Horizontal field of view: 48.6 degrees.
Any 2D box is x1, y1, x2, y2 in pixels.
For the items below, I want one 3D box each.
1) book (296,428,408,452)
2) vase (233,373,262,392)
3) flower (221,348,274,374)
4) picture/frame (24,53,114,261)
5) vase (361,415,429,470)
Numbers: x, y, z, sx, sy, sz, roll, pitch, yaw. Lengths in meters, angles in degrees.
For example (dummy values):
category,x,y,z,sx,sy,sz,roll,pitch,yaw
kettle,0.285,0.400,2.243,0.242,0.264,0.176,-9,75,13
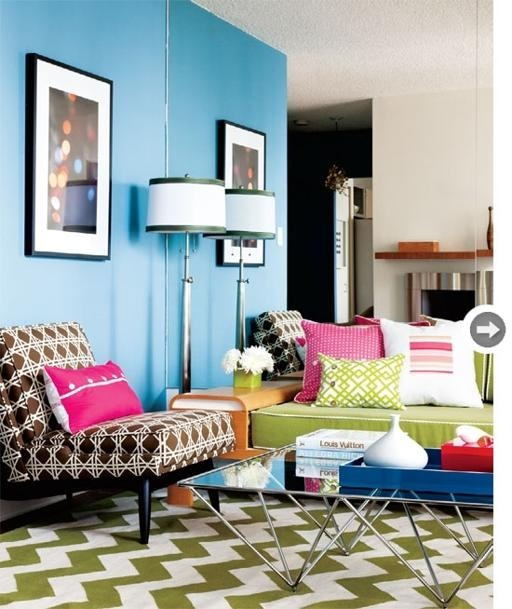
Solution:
category,x,y,z,sx,sy,sz,roll,pitch,yaw
book,0.338,0.514,2.178,0.199,0.040,0.188,-2,-2,32
vase,-0.063,0.497,3.617,0.116,0.072,0.120,0,0,16
flower,-0.067,0.359,3.633,0.214,0.129,0.208,1,2,-32
picture/frame,-1.041,-0.816,3.218,0.099,1.160,0.700,-3,-5,23
vase,0.442,0.441,1.773,0.184,0.160,0.220,0,-5,-3
